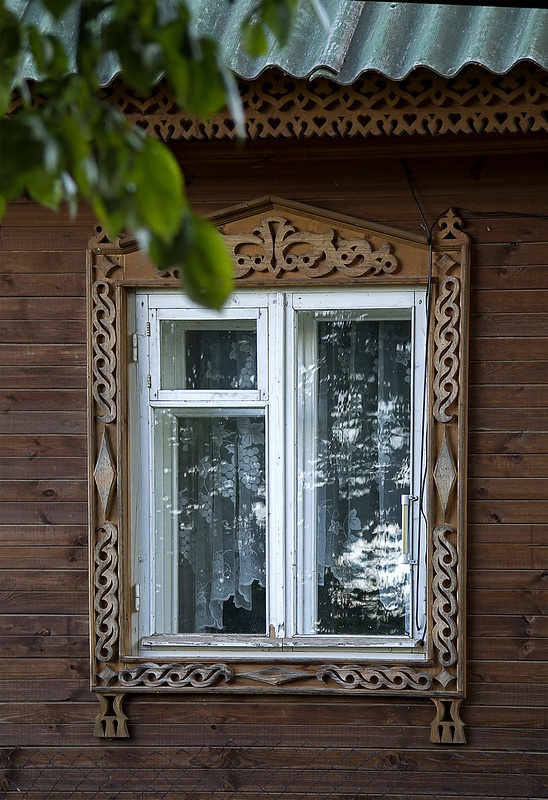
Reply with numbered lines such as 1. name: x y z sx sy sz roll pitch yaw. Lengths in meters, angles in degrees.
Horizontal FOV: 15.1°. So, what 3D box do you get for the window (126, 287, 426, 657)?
1. window: 0.049 0.242 6.937 1.129 1.494 0.108 0 0 8
